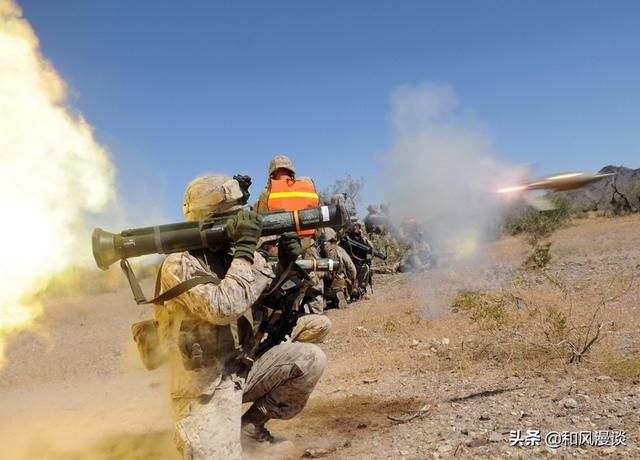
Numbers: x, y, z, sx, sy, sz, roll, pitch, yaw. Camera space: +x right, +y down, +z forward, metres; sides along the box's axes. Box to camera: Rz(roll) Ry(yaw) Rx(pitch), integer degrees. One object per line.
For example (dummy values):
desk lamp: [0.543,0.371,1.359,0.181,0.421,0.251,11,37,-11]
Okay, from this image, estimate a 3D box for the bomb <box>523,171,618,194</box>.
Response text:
bomb: [3.033,-0.591,5.891,0.929,0.230,0.303,-10,5,42]

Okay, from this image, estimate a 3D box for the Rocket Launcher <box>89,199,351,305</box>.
Rocket Launcher: [-0.872,0.171,4.122,2.218,0.856,0.472,-8,13,7]

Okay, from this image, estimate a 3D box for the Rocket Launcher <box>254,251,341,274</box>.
Rocket Launcher: [-0.354,0.438,5.802,1.217,0.309,0.288,1,47,1]
